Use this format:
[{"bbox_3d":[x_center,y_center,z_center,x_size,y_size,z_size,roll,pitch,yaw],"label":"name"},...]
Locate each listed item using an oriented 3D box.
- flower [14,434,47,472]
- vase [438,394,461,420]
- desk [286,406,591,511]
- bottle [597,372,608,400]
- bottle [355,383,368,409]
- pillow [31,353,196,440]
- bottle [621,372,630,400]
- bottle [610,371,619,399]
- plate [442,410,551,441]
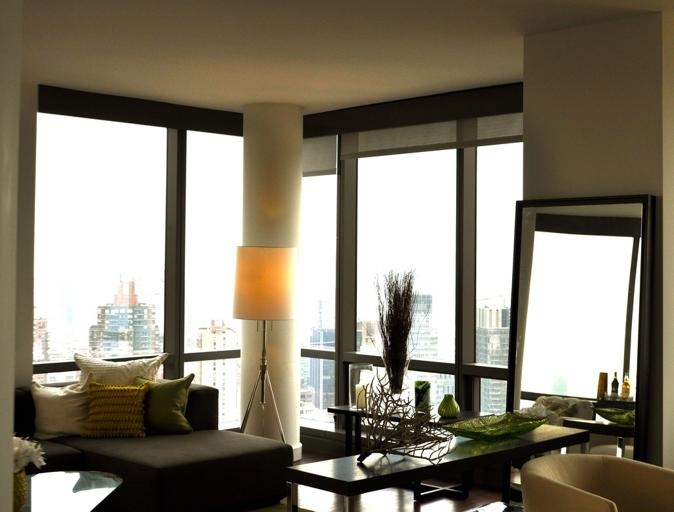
[{"bbox_3d":[-1.735,1.117,3.414,0.140,0.191,0.282,3,-3,-29],"label":"flower"},{"bbox_3d":[0.943,1.265,5.093,0.176,0.187,0.179,-2,-2,13],"label":"vase"},{"bbox_3d":[0.600,1.202,3.367,1.826,0.255,0.415,4,-4,-33],"label":"desk"},{"bbox_3d":[1.773,0.867,4.050,0.061,0.185,0.024,0,-3,25],"label":"bottle"},{"bbox_3d":[0.208,1.230,5.300,0.064,0.210,0.113,3,-3,-22],"label":"bottle"},{"bbox_3d":[-2.041,1.165,5.191,0.900,0.274,0.791,0,20,-13],"label":"pillow"},{"bbox_3d":[1.893,0.859,3.975,0.055,0.170,0.024,0,-4,26],"label":"bottle"},{"bbox_3d":[1.839,0.850,4.008,0.047,0.164,0.022,0,-3,25],"label":"bottle"},{"bbox_3d":[0.970,1.047,3.693,0.362,0.077,0.269,-2,-2,-22],"label":"plate"}]
